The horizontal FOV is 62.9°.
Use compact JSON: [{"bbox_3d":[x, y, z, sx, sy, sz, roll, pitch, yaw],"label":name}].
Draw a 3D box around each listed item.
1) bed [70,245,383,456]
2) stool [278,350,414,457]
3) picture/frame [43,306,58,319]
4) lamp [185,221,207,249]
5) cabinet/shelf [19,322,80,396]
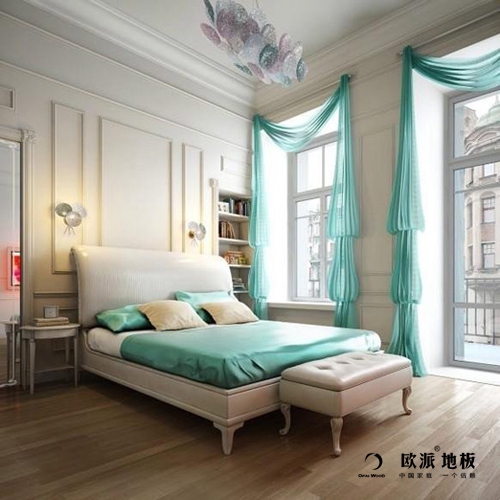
[{"bbox_3d":[-0.325,0.540,3.674,2.333,1.231,1.854,-3,-2,41],"label":"bed"},{"bbox_3d":[0.613,0.923,2.608,0.867,0.427,0.453,3,-4,-44],"label":"stool"},{"bbox_3d":[-1.763,0.542,3.645,0.129,0.126,0.093,1,-3,-38],"label":"picture/frame"},{"bbox_3d":[-0.642,-0.188,5.076,0.137,0.309,0.283,-2,-3,30],"label":"lamp"},{"bbox_3d":[-1.694,0.911,3.551,0.346,0.499,0.456,-10,-10,40],"label":"cabinet/shelf"}]
